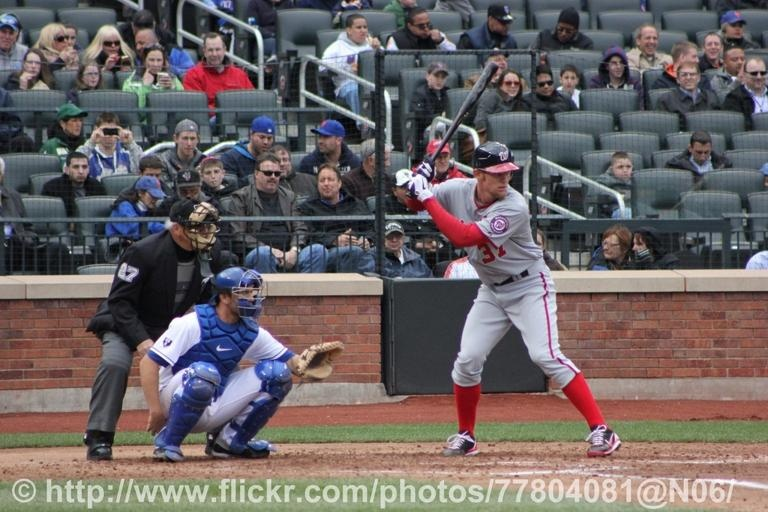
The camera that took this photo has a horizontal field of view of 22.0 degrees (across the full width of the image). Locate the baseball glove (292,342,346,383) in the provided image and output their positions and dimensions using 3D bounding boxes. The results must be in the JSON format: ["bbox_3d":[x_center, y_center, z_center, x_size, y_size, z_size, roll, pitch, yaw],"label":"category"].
[{"bbox_3d":[-0.759,1.144,22.793,0.535,0.391,0.235,-20,41,-33],"label":"baseball glove"}]
